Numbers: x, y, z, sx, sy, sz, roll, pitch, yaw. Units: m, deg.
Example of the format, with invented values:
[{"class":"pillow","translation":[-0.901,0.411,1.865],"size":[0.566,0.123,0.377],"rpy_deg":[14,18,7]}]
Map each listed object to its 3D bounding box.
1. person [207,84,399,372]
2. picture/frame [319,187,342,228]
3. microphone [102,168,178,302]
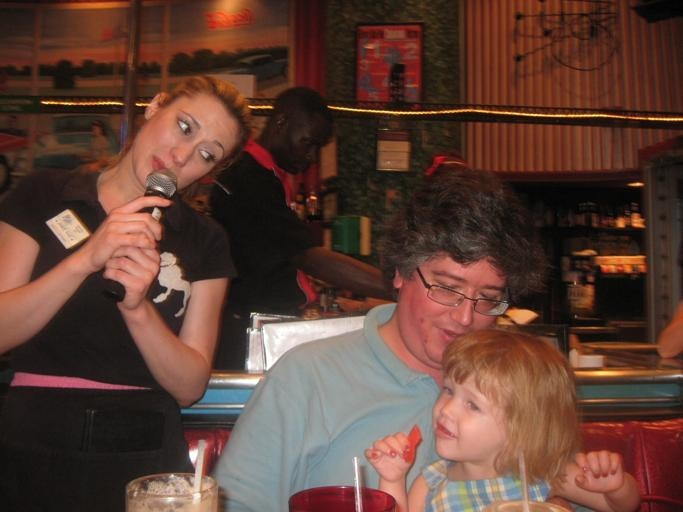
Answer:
[{"class":"person","translation":[-0.487,-0.268,4.533],"size":[1.504,2.620,1.160],"rpy_deg":[1,4,-13]},{"class":"picture/frame","translation":[-0.083,-0.458,5.946],"size":[0.161,0.256,0.159],"rpy_deg":[-1,-3,25]},{"class":"microphone","translation":[-0.640,-0.105,1.992],"size":[0.141,0.535,0.144],"rpy_deg":[20,-10,-20]}]
